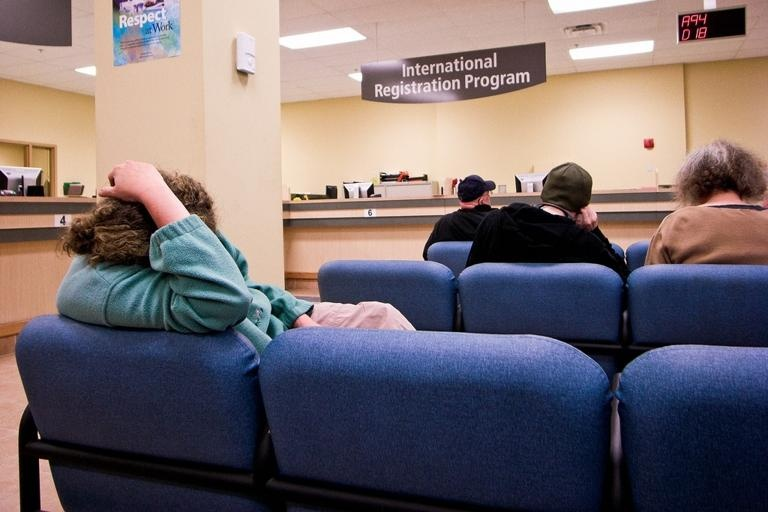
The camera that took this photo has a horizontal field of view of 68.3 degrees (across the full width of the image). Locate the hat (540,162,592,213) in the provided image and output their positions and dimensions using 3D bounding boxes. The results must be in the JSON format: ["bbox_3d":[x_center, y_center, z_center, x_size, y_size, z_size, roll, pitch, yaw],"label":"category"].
[{"bbox_3d":[0.787,-0.324,2.553,0.179,0.199,0.239,18,26,2],"label":"hat"}]

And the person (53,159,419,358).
[{"bbox_3d":[-0.255,0.007,1.499,1.000,0.534,0.498,1,9,-7],"label":"person"}]
